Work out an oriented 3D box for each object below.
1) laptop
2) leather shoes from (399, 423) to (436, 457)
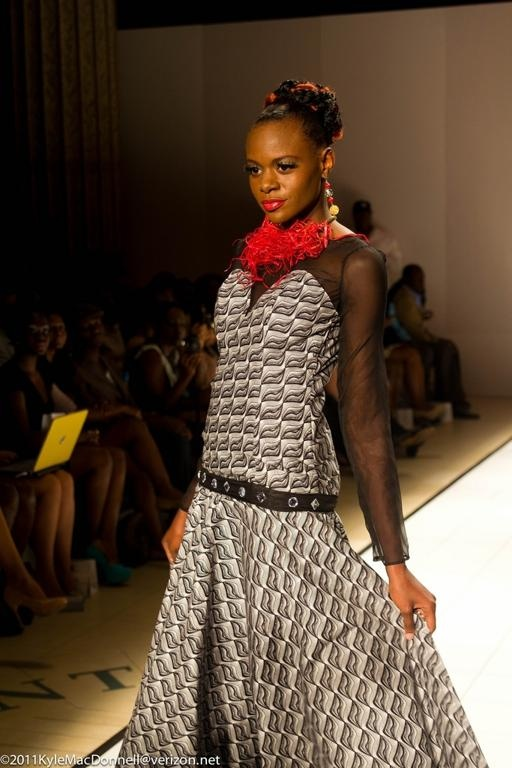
[{"bbox_3d":[-0.712,0.192,2.227,0.263,0.198,0.250,5,6,24],"label":"laptop"},{"bbox_3d":[1.089,0.390,4.407,0.187,0.092,0.243,5,-35,-42],"label":"leather shoes"}]
